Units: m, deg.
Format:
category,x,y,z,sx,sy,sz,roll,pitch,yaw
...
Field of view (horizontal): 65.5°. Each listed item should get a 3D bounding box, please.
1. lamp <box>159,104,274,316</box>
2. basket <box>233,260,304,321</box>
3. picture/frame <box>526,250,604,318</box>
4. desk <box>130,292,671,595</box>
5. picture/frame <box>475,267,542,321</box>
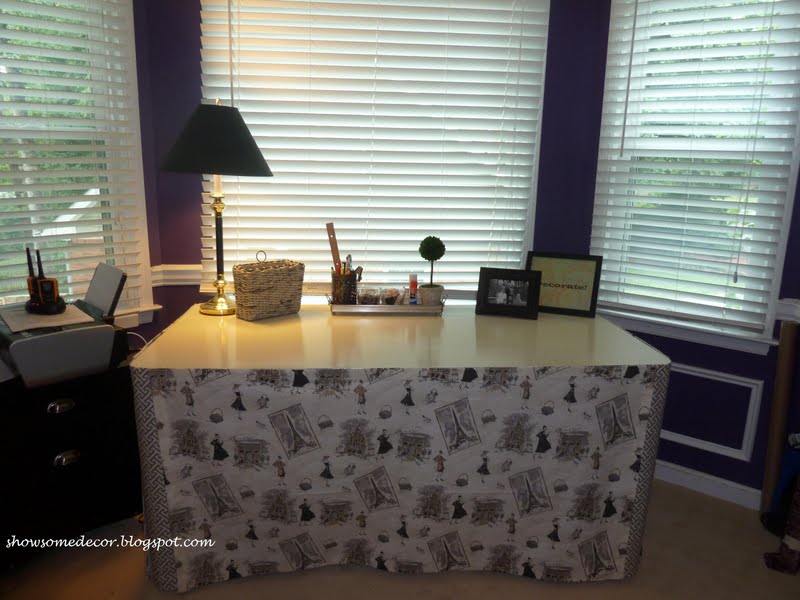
category,x,y,z,sx,sy,sz,roll,pitch,yaw
lamp,-0.803,-0.416,2.867,0.418,0.960,0.405,4,13,6
basket,-0.620,-0.053,2.902,0.336,0.227,0.200,-12,21,-43
picture/frame,0.773,-0.073,2.931,0.357,0.276,0.027,5,11,18
desk,0.026,0.613,2.936,2.138,0.880,1.087,1,21,-3
picture/frame,0.521,-0.026,2.918,0.261,0.196,0.018,6,4,15
